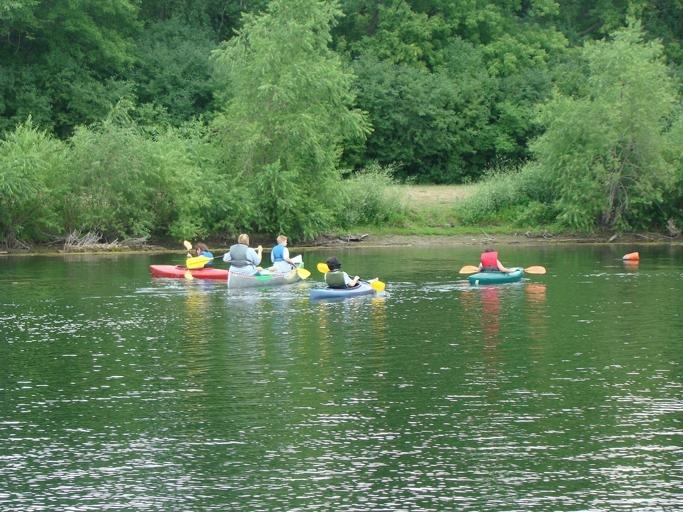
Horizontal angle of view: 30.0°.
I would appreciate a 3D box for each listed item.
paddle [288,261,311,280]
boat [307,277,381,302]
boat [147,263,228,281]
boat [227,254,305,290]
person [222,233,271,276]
[{"bbox_3d":[-1.431,0.480,42.633,0.929,0.313,0.132,37,-9,45],"label":"paddle"},{"bbox_3d":[0.224,1.034,38.986,2.599,0.547,2.349,-1,2,-42],"label":"boat"},{"bbox_3d":[-5.623,0.595,45.018,3.202,0.426,0.880,1,5,21],"label":"boat"},{"bbox_3d":[-2.670,0.634,42.462,0.922,0.648,3.692,2,4,34],"label":"boat"},{"bbox_3d":[-3.099,0.205,42.231,1.302,1.642,1.134,-5,10,-44],"label":"person"}]
